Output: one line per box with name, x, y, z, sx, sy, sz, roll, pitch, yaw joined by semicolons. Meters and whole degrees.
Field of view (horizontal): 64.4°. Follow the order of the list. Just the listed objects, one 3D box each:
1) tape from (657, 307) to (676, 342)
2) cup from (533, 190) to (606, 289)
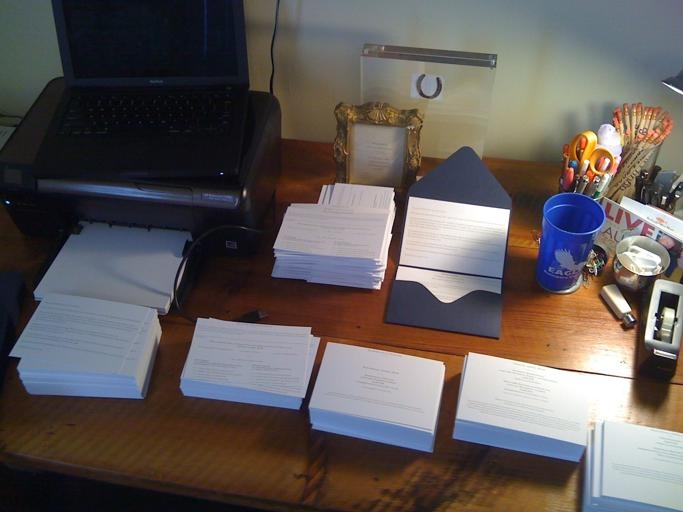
tape;0.655;0.140;1.095;0.016;0.043;0.060;24;73;12
cup;0.500;-0.029;1.176;0.120;0.205;0.134;12;54;17
